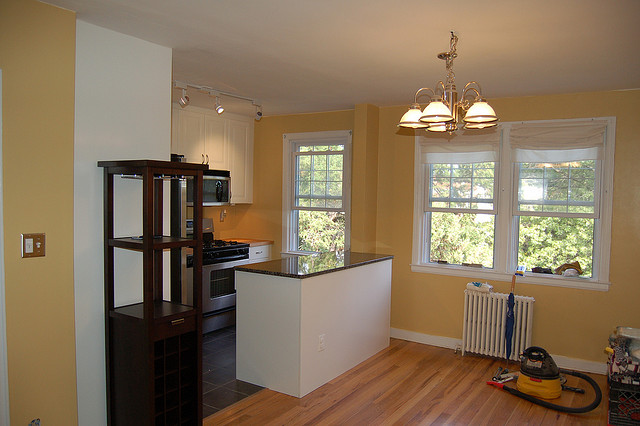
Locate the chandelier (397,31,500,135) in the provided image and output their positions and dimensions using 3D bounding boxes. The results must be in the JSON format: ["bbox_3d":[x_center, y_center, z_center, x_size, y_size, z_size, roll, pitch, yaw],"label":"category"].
[{"bbox_3d":[1.056,-1.050,3.876,0.746,0.745,0.676,0,7,4],"label":"chandelier"}]

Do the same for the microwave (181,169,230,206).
[{"bbox_3d":[-1.423,-0.364,6.860,0.754,0.530,0.475,1,12,30],"label":"microwave"}]

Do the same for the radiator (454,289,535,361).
[{"bbox_3d":[2.136,1.351,5.748,0.880,0.781,0.131,2,-2,28],"label":"radiator"}]

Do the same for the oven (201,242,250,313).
[{"bbox_3d":[-1.527,0.886,6.787,0.662,0.903,0.872,3,3,33],"label":"oven"}]
